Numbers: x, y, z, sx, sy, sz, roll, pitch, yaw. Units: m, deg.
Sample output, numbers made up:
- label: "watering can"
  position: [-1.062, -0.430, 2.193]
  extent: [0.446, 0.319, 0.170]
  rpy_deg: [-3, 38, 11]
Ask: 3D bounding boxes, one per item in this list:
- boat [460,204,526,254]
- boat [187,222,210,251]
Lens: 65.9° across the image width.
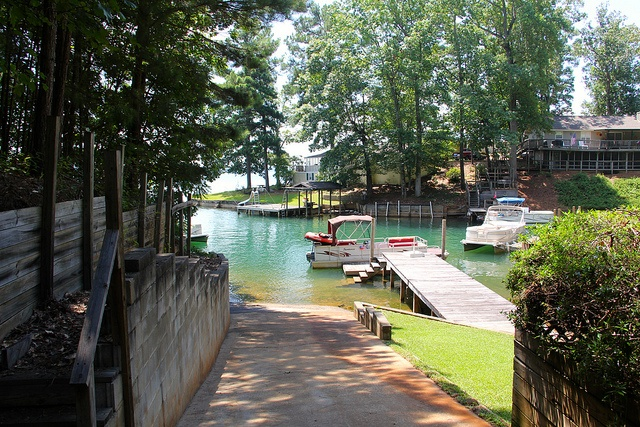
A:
- label: "boat"
  position: [10.060, 0.839, 27.952]
  extent: [2.781, 2.471, 3.781]
  rpy_deg: [4, 4, 29]
- label: "boat"
  position: [-7.033, 1.382, 28.641]
  extent: [1.736, 1.277, 5.452]
  rpy_deg: [-1, -1, -13]
